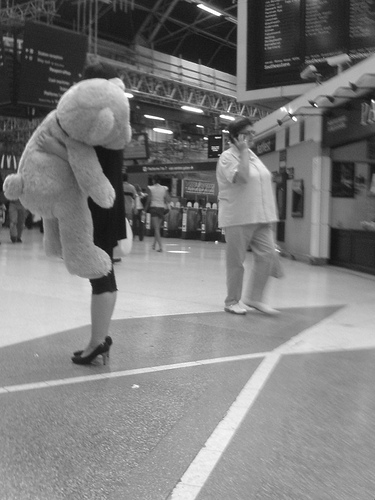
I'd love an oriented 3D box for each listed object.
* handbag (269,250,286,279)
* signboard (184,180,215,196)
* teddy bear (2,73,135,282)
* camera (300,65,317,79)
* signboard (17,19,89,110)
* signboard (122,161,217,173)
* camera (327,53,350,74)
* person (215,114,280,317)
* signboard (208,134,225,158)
[{"bbox_3d":[0.818,0.136,4.410,0.130,0.292,0.511,4,5,11],"label":"handbag"},{"bbox_3d":[0.634,-3.082,24.355,1.776,0.689,0.552,-1,6,-38],"label":"signboard"},{"bbox_3d":[-0.572,-0.358,2.376,0.547,1.021,0.333,4,5,16],"label":"teddy bear"},{"bbox_3d":[1.963,-2.891,7.866,0.170,0.200,0.451,3,5,-2],"label":"camera"},{"bbox_3d":[-2.931,-4.010,10.697,1.429,1.955,0.164,3,-14,-13],"label":"signboard"},{"bbox_3d":[-0.773,-3.643,21.659,5.478,0.434,0.513,8,7,42],"label":"signboard"},{"bbox_3d":[2.278,-2.804,7.353,0.321,0.245,0.475,4,5,16],"label":"camera"},{"bbox_3d":[0.515,-0.295,4.156,0.568,1.666,0.402,3,5,4],"label":"person"},{"bbox_3d":[1.390,-4.949,23.380,0.572,1.119,1.091,-2,7,-44],"label":"signboard"}]
